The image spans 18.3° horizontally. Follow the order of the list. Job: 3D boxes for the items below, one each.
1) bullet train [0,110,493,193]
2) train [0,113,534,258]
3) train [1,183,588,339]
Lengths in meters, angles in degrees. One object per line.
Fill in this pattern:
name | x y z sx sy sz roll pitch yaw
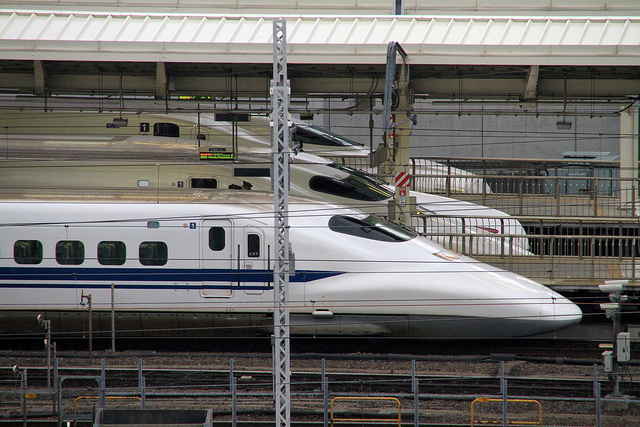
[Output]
bullet train | -3.335 -2.219 71.941 23.892 3.229 2.329 1 31 -5
train | -2.522 -0.891 69.982 26.217 4.115 3.270 2 28 2
train | -2.237 1.600 67.296 17.426 5.258 0.921 -1 -11 1
